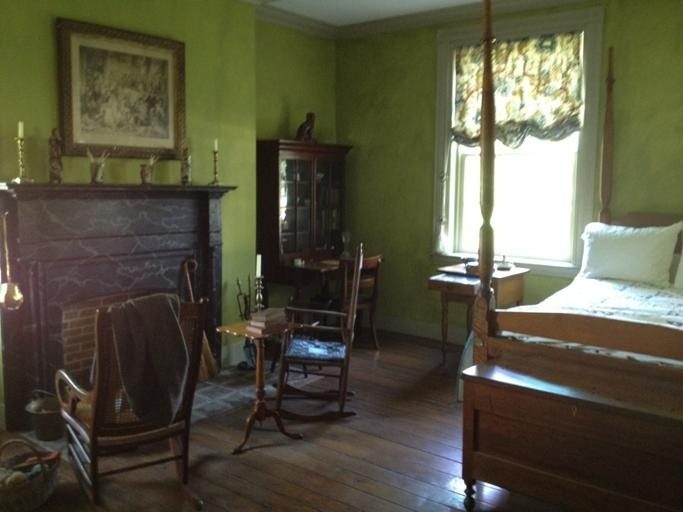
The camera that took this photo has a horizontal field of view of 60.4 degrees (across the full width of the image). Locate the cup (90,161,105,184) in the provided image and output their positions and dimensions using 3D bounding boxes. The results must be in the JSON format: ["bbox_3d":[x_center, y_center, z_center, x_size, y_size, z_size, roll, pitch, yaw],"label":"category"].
[{"bbox_3d":[-1.914,-0.655,4.569,0.096,0.155,0.102,1,14,0],"label":"cup"}]

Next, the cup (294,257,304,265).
[{"bbox_3d":[-0.450,0.057,6.253,0.066,0.070,0.091,5,15,17],"label":"cup"}]

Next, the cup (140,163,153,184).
[{"bbox_3d":[-1.634,-0.692,4.916,0.109,0.161,0.281,-4,15,-18],"label":"cup"}]

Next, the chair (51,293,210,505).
[{"bbox_3d":[-1.260,0.875,3.663,0.904,1.333,0.703,13,18,40],"label":"chair"}]

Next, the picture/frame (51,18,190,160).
[{"bbox_3d":[-1.842,-1.379,4.778,0.104,1.189,1.310,1,2,41],"label":"picture/frame"}]

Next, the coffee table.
[{"bbox_3d":[-0.584,0.942,4.340,0.603,0.845,0.597,0,-6,35],"label":"coffee table"}]

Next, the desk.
[{"bbox_3d":[1.229,0.529,5.874,0.775,1.050,1.101,3,5,43],"label":"desk"}]

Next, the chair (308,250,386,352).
[{"bbox_3d":[0.094,0.464,6.333,0.614,1.003,0.685,0,11,2],"label":"chair"}]
